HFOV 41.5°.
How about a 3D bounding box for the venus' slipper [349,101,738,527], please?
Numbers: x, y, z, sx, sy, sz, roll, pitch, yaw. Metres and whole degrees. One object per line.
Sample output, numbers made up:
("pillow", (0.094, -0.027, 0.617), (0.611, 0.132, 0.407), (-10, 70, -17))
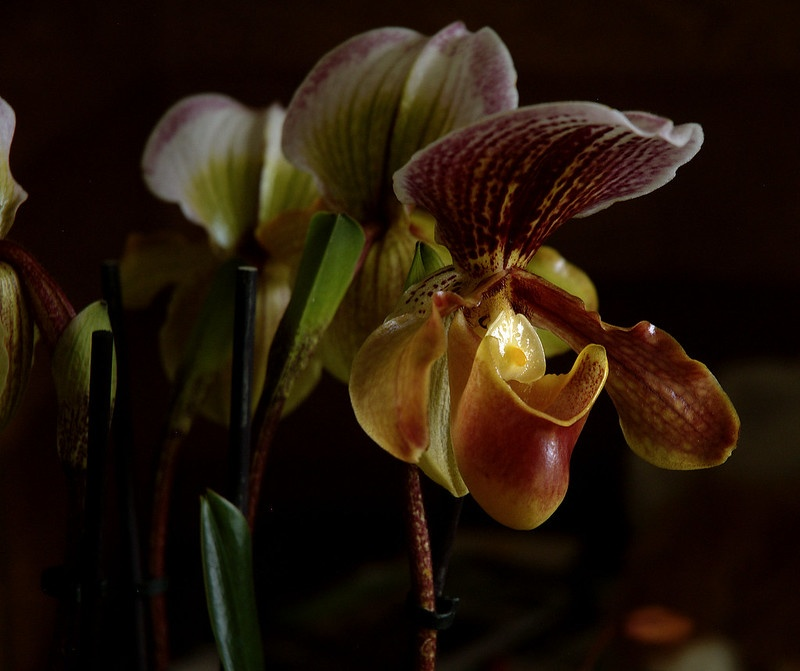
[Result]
("venus' slipper", (0.118, -0.025, 0.837), (0.322, 0.300, 0.177), (-6, 31, -10))

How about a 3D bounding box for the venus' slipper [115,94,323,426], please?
("venus' slipper", (-0.171, -0.081, 1.062), (0.206, 0.304, 0.281), (-3, -5, -9))
